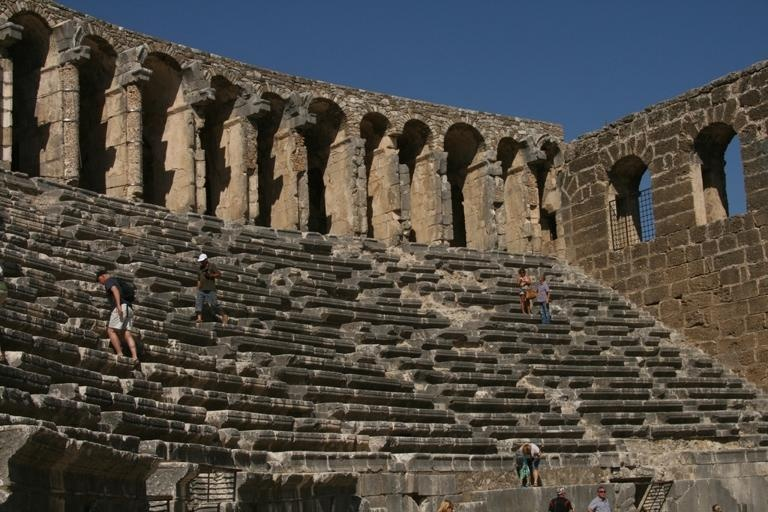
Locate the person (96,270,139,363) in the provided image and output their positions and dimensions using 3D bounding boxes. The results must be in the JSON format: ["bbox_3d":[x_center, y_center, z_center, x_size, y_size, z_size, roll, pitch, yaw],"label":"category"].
[{"bbox_3d":[-4.802,1.063,29.028,0.870,2.009,0.491,7,-30,-11],"label":"person"}]

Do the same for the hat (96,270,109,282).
[{"bbox_3d":[-5.173,0.368,29.518,0.221,0.207,0.337,12,-4,-27],"label":"hat"}]

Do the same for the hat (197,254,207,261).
[{"bbox_3d":[-3.605,0.031,31.904,0.160,0.098,0.209,-7,-2,8],"label":"hat"}]

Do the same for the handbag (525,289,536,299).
[{"bbox_3d":[3.393,0.881,37.493,0.248,0.200,0.085,-3,-22,-10],"label":"handbag"}]

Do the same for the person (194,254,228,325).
[{"bbox_3d":[-3.392,0.712,31.794,0.664,1.676,0.844,4,-29,-5],"label":"person"}]

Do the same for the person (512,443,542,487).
[{"bbox_3d":[2.839,4.130,31.659,0.528,1.132,0.964,-1,-29,4],"label":"person"}]
